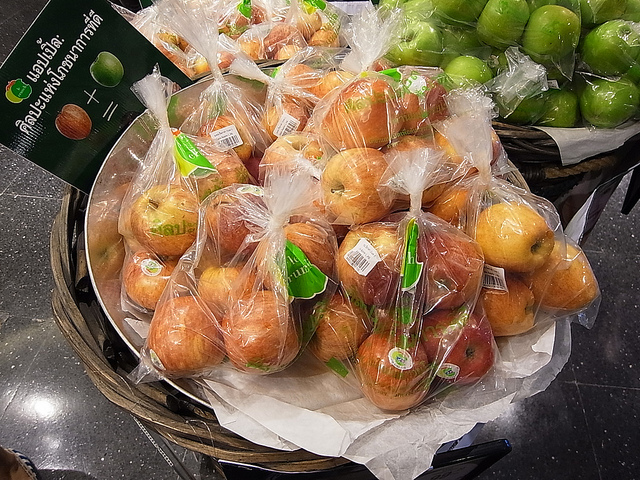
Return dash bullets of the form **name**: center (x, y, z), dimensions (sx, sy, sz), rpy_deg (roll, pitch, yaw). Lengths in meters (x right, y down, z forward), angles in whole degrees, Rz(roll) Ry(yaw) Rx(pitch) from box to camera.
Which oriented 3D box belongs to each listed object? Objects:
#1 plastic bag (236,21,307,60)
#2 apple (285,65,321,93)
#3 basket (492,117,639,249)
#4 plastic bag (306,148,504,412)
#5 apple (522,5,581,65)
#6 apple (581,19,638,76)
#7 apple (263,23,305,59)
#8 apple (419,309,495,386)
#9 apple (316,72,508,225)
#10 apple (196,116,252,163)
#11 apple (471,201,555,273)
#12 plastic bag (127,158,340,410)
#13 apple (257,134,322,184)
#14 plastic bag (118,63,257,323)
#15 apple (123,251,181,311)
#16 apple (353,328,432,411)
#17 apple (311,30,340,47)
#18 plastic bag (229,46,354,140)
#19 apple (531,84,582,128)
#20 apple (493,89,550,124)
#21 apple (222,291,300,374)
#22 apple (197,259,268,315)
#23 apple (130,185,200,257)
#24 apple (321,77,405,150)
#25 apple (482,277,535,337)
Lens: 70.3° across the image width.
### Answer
- **plastic bag**: center (-0.152, -0.622, 1.412), dimensions (0.166, 0.054, 0.169), rpy_deg (41, 62, 20)
- **apple**: center (-0.043, -0.421, 1.187), dimensions (0.078, 0.048, 0.072), rpy_deg (10, 41, -18)
- **basket**: center (0.721, -0.195, 1.483), dimensions (0.394, 0.357, 0.432), rpy_deg (-4, 30, -4)
- **plastic bag**: center (0.200, 0.028, 0.977), dimensions (0.321, 0.466, 0.388), rpy_deg (-7, 36, 13)
- **apple**: center (0.621, -0.564, 1.276), dimensions (0.128, 0.186, 0.153), rpy_deg (10, 22, 19)
- **apple**: center (0.814, -0.529, 1.271), dimensions (0.134, 0.078, 0.131), rpy_deg (-2, 74, 8)
- **apple**: center (-0.114, -0.591, 1.423), dimensions (0.104, 0.064, 0.122), rpy_deg (-9, 100, -12)
- **apple**: center (0.327, 0.247, 0.944), dimensions (0.147, 0.154, 0.110), rpy_deg (26, 86, 33)
- **apple**: center (0.184, -0.172, 1.028), dimensions (0.329, 0.152, 0.353), rpy_deg (9, 74, 3)
- **apple**: center (-0.226, -0.232, 1.146), dimensions (0.105, 0.115, 0.148), rpy_deg (-3, 96, 6)
- **apple**: center (0.406, -0.020, 0.942), dimensions (0.157, 0.139, 0.159), rpy_deg (5, 90, 30)
- **plastic bag**: center (-0.129, 0.111, 0.969), dimensions (0.333, 0.169, 0.537), rpy_deg (15, 63, 23)
- **apple**: center (-0.061, -0.177, 1.010), dimensions (0.091, 0.086, 0.084), rpy_deg (-30, 99, 21)
- **plastic bag**: center (-0.295, -0.110, 1.110), dimensions (0.216, 0.312, 0.554), rpy_deg (4, 71, -4)
- **apple**: center (-0.350, 0.079, 0.984), dimensions (0.113, 0.122, 0.122), rpy_deg (9, 30, -19)
- **apple**: center (0.139, 0.234, 0.895), dimensions (0.133, 0.173, 0.163), rpy_deg (-1, 81, 3)
- **apple**: center (0.021, -0.646, 1.463), dimensions (0.084, 0.052, 0.077), rpy_deg (25, 35, 20)
- **plastic bag**: center (-0.068, -0.369, 1.279), dimensions (0.271, 0.113, 0.299), rpy_deg (16, 65, 36)
- **apple**: center (0.733, -0.393, 1.376), dimensions (0.120, 0.136, 0.136), rpy_deg (5, 21, 26)
- **apple**: center (0.586, -0.390, 1.304), dimensions (0.103, 0.074, 0.101), rpy_deg (-17, 24, -41)
- **apple**: center (-0.118, 0.171, 0.869), dimensions (0.132, 0.161, 0.148), rpy_deg (-1, 15, -13)
- **apple**: center (-0.193, 0.121, 0.973), dimensions (0.127, 0.136, 0.138), rpy_deg (-5, 82, -9)
- **apple**: center (-0.333, -0.033, 1.037), dimensions (0.134, 0.151, 0.146), rpy_deg (-18, 53, -20)
- **apple**: center (0.097, -0.263, 0.968), dimensions (0.164, 0.053, 0.144), rpy_deg (0, 75, 9)
- **apple**: center (0.419, 0.148, 0.965), dimensions (0.093, 0.097, 0.135), rpy_deg (10, 82, -5)
